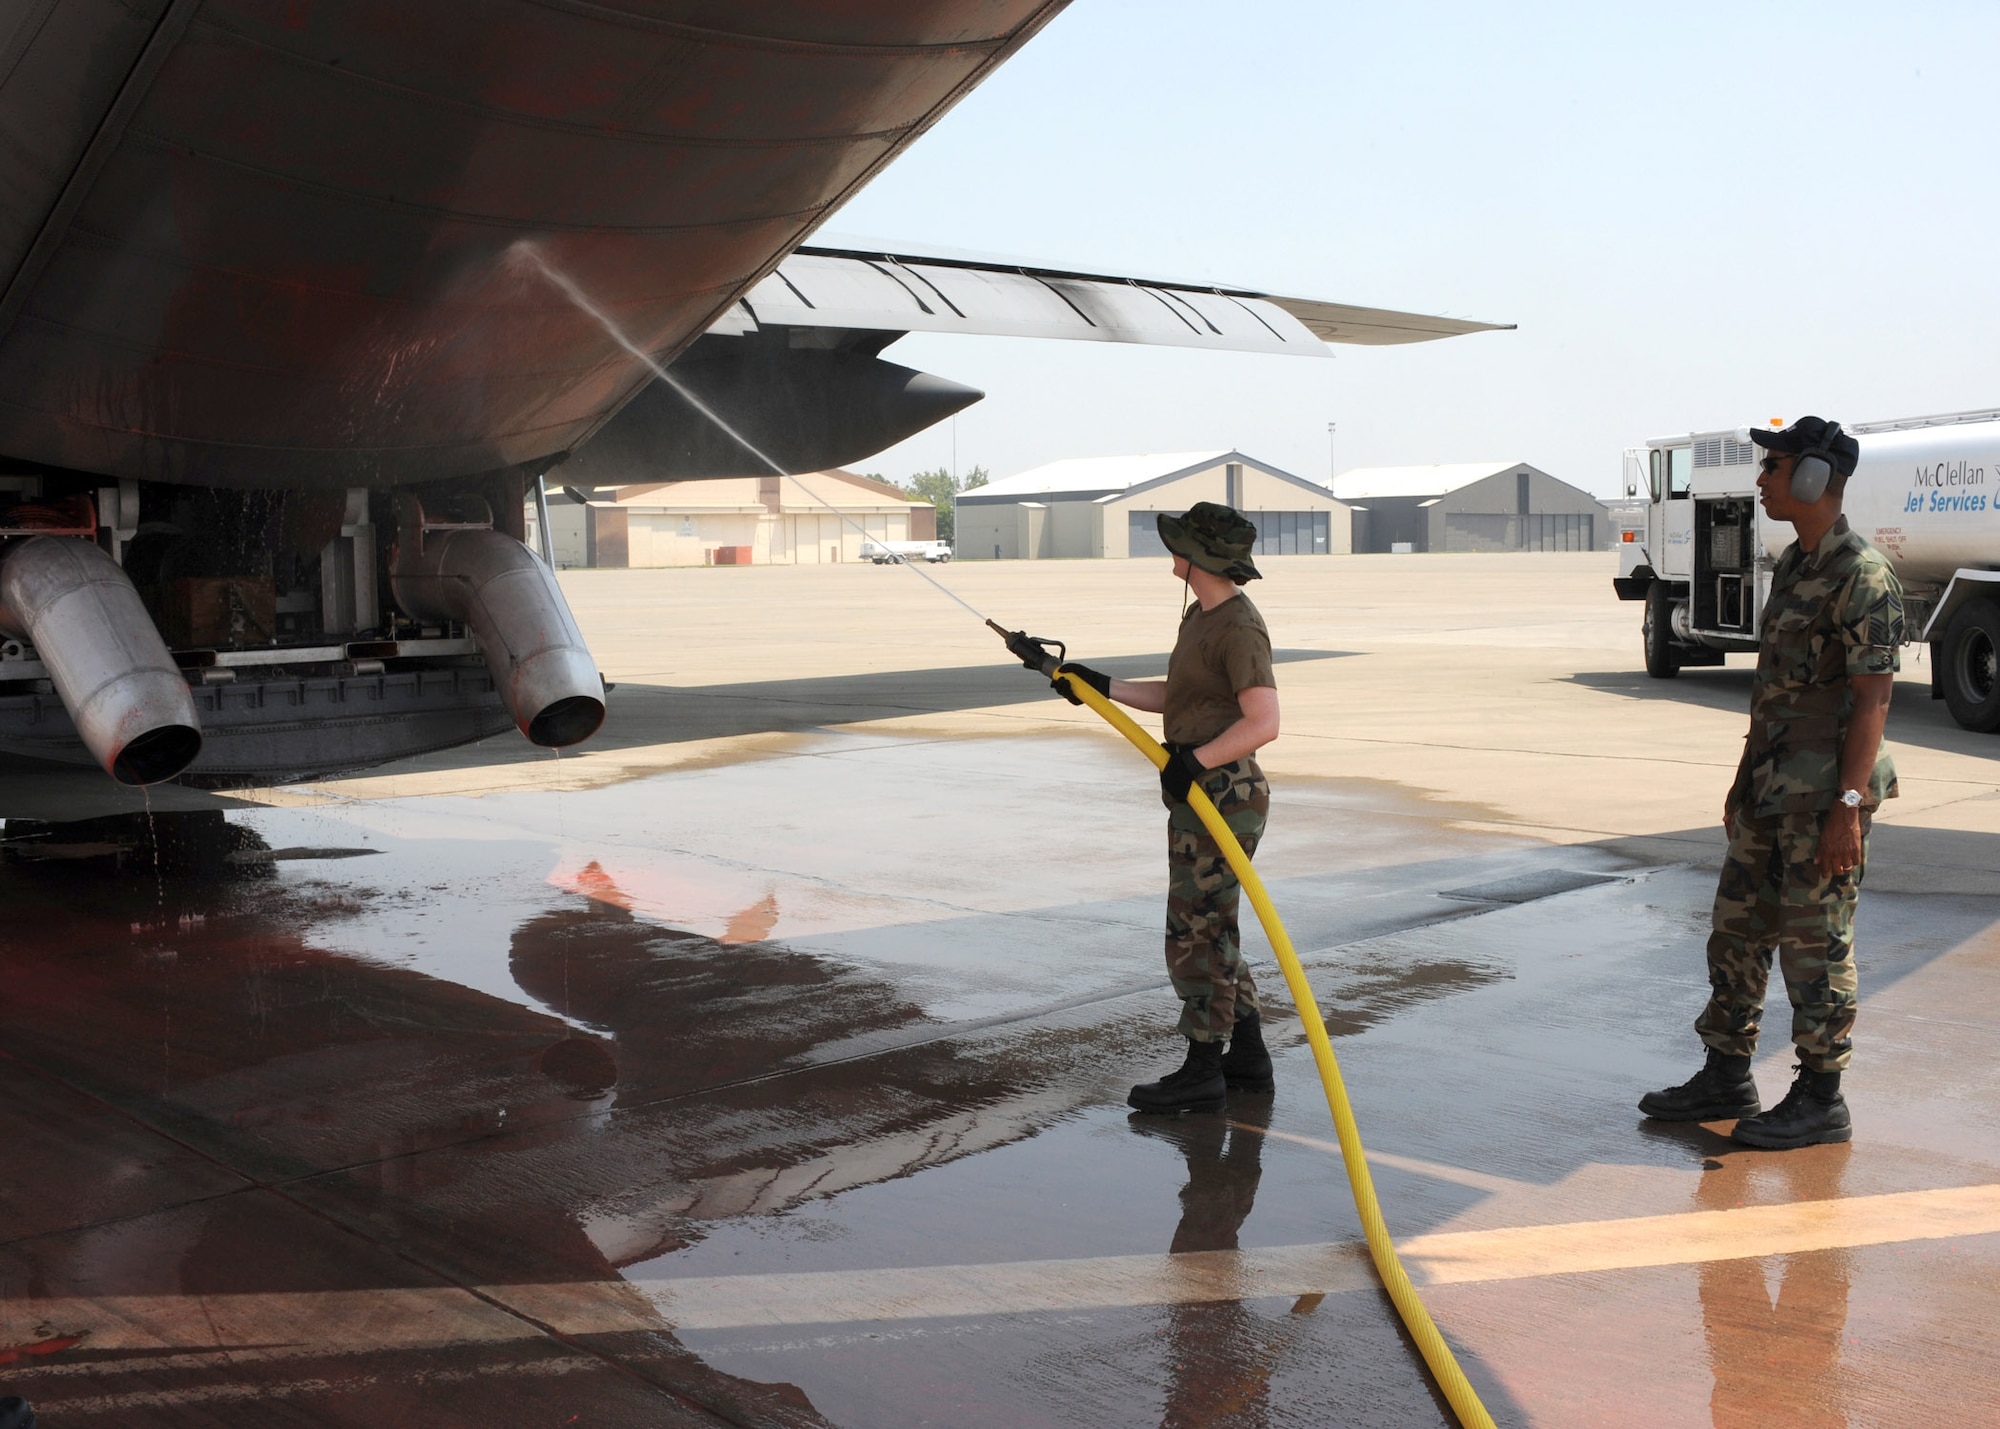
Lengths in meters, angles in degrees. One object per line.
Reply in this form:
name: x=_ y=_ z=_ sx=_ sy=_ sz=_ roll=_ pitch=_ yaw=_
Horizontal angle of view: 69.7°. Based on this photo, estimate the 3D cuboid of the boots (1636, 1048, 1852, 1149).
boots: x=2.702 y=1.361 z=5.226 sx=0.481 sy=0.187 sz=0.506 roll=8 pitch=-10 yaw=-32

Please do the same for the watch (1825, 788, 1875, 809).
watch: x=2.904 y=0.277 z=4.951 sx=0.128 sy=0.054 sz=0.115 roll=9 pitch=8 yaw=41

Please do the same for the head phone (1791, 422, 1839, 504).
head phone: x=2.851 y=-0.851 z=5.073 sx=0.108 sy=0.182 sz=0.184 roll=9 pitch=13 yaw=31

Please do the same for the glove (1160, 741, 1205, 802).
glove: x=0.644 y=0.210 z=5.220 sx=0.123 sy=0.170 sz=0.165 roll=2 pitch=-4 yaw=7

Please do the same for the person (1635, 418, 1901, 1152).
person: x=2.773 y=0.239 z=5.140 sx=0.710 sy=2.577 sz=0.672 roll=2 pitch=8 yaw=25

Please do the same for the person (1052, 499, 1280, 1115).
person: x=0.721 y=0.327 z=5.571 sx=0.663 sy=2.315 sz=1.017 roll=0 pitch=7 yaw=9
